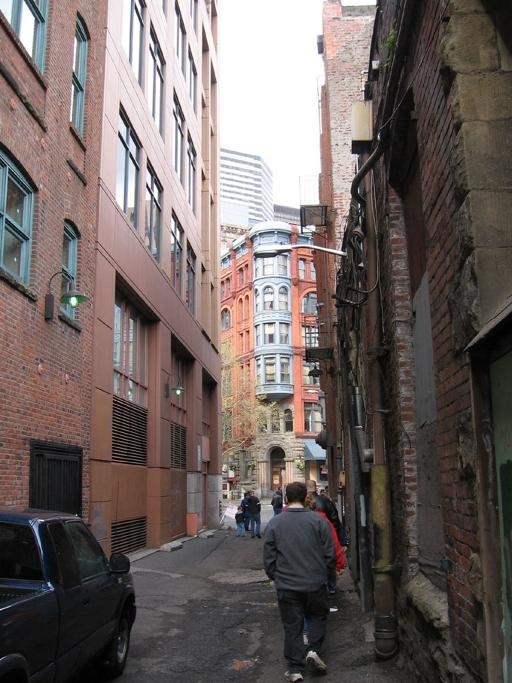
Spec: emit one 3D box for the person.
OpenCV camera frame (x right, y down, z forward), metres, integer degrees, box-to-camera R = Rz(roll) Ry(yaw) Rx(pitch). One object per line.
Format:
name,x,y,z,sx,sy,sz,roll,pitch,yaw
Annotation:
person,0.409,2.131,4.986,0.641,1.732,0.659,-15,-18,39

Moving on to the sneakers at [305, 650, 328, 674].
sneakers,0.533,2.893,4.934,0.153,0.236,0.353,-9,-19,12
